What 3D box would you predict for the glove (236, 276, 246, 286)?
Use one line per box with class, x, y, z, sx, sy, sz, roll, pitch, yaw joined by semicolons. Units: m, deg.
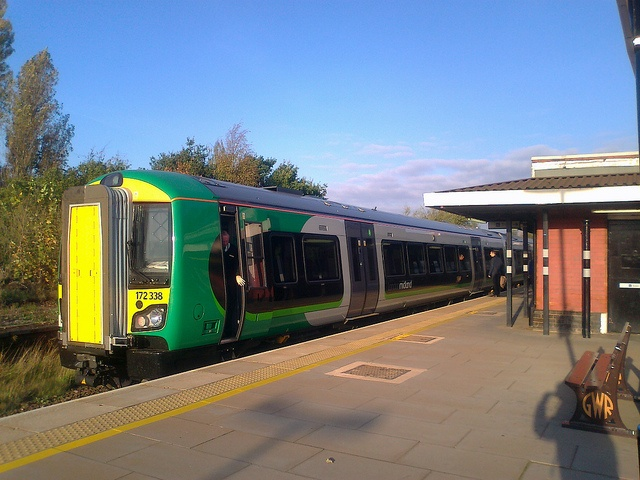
glove;-1.538;0.795;8.428;0.043;0.182;0.182;-17;-43;33
